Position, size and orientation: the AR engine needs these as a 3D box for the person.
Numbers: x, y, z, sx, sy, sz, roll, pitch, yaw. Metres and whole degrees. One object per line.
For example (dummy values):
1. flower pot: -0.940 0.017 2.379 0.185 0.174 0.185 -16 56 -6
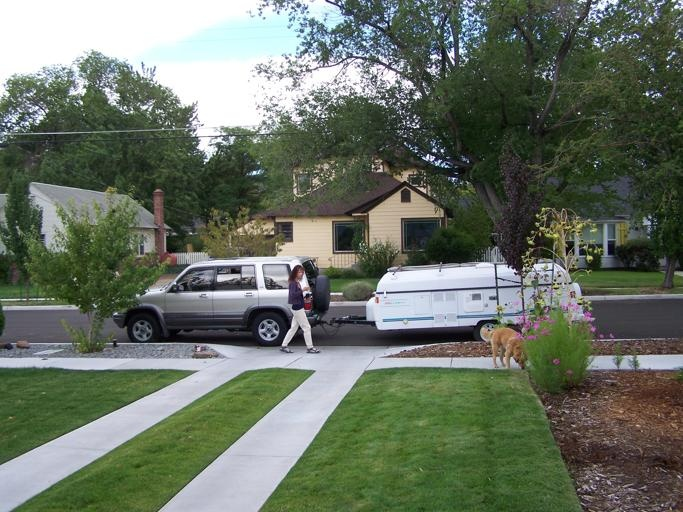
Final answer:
1. person: -1.047 1.338 15.500 0.904 2.152 1.355 -5 8 -7

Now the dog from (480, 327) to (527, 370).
1. dog: 3.314 1.818 12.428 0.352 0.827 1.533 2 2 -13

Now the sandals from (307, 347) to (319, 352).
1. sandals: -0.649 2.239 15.157 0.201 0.086 0.130 -4 -2 18

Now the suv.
1. suv: -3.085 1.163 17.867 5.202 2.280 2.614 2 -2 6

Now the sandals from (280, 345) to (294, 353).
1. sandals: -1.308 2.265 15.539 0.347 0.176 0.140 2 10 5
